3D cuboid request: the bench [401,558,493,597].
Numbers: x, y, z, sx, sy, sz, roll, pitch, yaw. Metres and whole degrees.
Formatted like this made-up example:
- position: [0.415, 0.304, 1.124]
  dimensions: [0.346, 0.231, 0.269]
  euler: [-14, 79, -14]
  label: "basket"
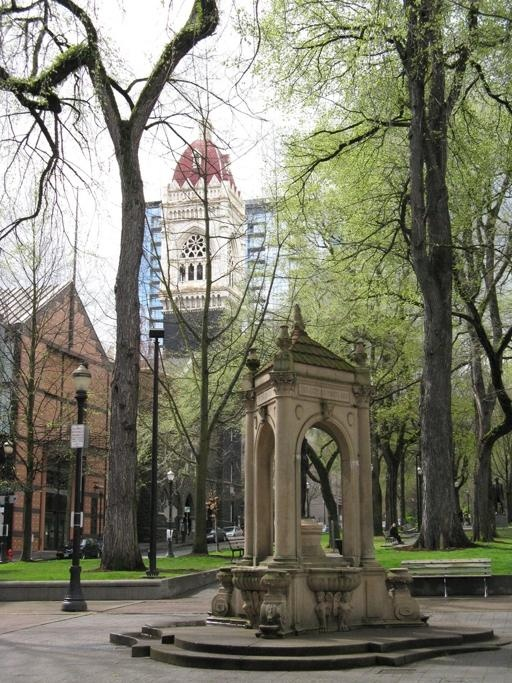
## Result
- position: [3.898, 4.693, 19.465]
  dimensions: [1.659, 0.762, 0.539]
  euler: [-5, -16, 11]
  label: "bench"
